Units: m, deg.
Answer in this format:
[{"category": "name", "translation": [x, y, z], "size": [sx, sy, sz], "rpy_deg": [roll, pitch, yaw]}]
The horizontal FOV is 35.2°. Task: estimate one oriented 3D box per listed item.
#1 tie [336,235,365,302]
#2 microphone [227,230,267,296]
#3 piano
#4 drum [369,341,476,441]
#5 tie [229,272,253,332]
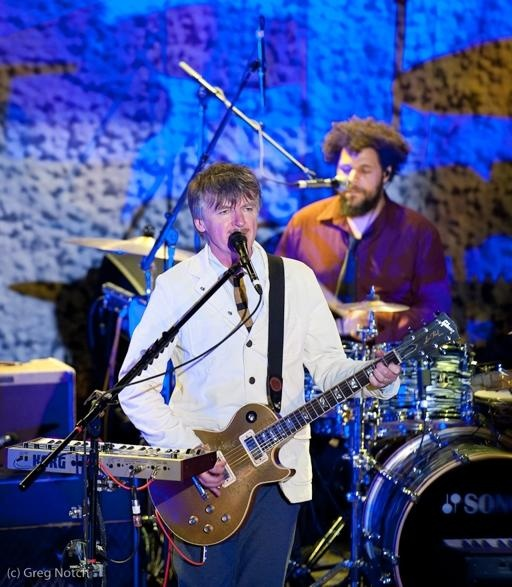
[{"category": "tie", "translation": [0.607, -0.164, 5.289], "size": [0.151, 0.409, 0.044], "rpy_deg": [5, 1, 16]}, {"category": "microphone", "translation": [-0.038, -0.116, 2.886], "size": [0.078, 0.274, 0.078], "rpy_deg": [-19, -38, -12]}, {"category": "piano", "translation": [-0.533, 0.597, 2.927], "size": [0.770, 0.109, 0.230], "rpy_deg": [-4, -3, 9]}, {"category": "drum", "translation": [0.919, 0.520, 4.417], "size": [0.573, 0.370, 0.464], "rpy_deg": [-3, 0, -24]}, {"category": "tie", "translation": [-0.054, 0.042, 3.172], "size": [0.075, 0.206, 0.024], "rpy_deg": [-16, -26, 5]}]
